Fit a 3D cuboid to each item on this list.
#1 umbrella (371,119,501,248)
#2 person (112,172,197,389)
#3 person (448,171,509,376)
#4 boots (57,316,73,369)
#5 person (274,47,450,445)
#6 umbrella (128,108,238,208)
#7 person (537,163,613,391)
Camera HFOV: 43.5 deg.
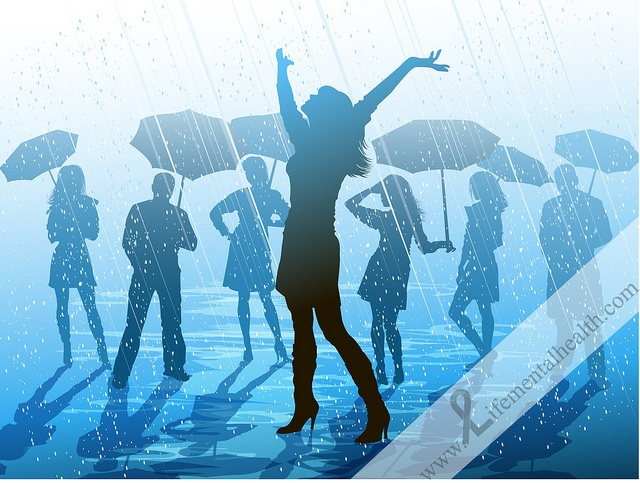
[{"bbox_3d":[0.799,-0.304,5.721,0.735,0.844,0.814,-3,-27,-4],"label":"umbrella"},{"bbox_3d":[-1.168,0.273,5.557,0.676,1.398,0.231,-8,8,1],"label":"person"},{"bbox_3d":[1.091,0.167,5.515,0.471,1.224,0.218,-15,11,-37],"label":"person"},{"bbox_3d":[-1.770,0.692,5.551,0.079,0.361,0.037,-6,2,0],"label":"boots"},{"bbox_3d":[0.059,0.079,5.464,0.959,2.619,0.433,-6,9,10],"label":"person"},{"bbox_3d":[-0.908,-0.680,5.844,0.617,0.646,0.588,5,29,3],"label":"umbrella"},{"bbox_3d":[1.829,0.033,5.809,0.462,1.671,0.509,2,53,17],"label":"person"}]
